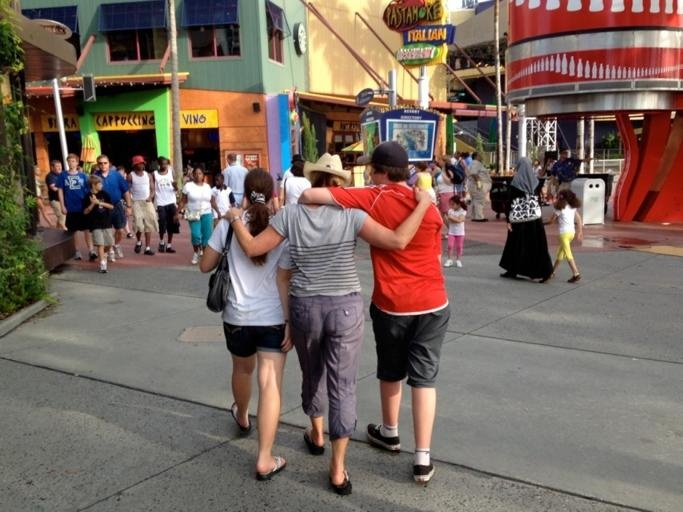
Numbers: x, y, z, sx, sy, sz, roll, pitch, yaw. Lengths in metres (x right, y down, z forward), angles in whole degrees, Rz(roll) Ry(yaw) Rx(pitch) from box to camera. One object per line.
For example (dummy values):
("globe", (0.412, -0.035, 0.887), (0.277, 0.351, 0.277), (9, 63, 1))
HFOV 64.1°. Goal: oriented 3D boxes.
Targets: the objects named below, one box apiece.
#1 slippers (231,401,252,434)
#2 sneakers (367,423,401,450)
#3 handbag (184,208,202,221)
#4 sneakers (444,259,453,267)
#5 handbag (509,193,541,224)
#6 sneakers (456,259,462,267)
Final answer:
("slippers", (-0.846, 1.413, 4.594), (0.109, 0.366, 0.093), (-12, 0, -5))
("sneakers", (0.332, 1.442, 4.358), (0.123, 0.138, 0.321), (13, 0, -30))
("handbag", (-3.029, -0.804, 10.965), (0.338, 0.315, 0.191), (0, -2, -8))
("sneakers", (2.115, 0.159, 10.857), (0.101, 0.135, 0.302), (1, 5, 23))
("handbag", (3.231, -0.815, 9.597), (0.455, 0.493, 0.142), (0, -3, 11))
("sneakers", (2.353, 0.160, 10.838), (0.073, 0.104, 0.218), (-3, 4, 1))
